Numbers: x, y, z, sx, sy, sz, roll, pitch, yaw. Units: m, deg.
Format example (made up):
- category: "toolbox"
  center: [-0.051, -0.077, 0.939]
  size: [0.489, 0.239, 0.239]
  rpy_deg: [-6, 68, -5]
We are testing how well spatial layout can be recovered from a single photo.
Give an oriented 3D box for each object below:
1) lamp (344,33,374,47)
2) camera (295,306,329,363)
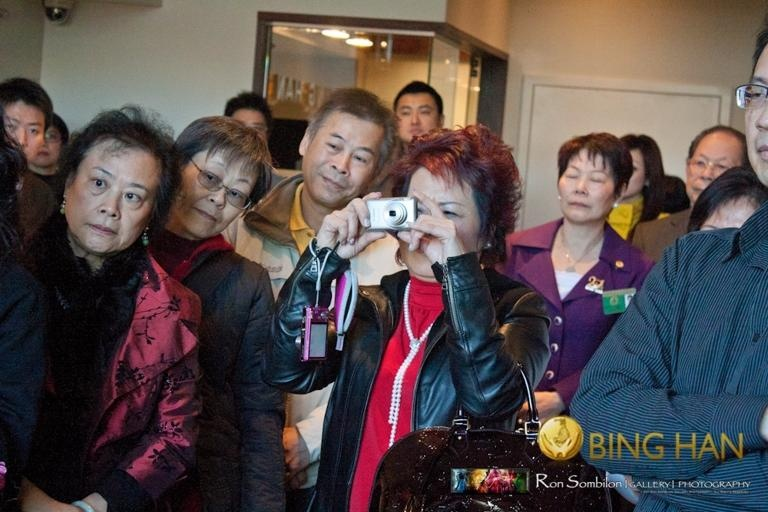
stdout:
- category: "lamp"
  center: [-0.189, -1.730, 4.870]
  size: [0.137, 0.048, 0.140]
  rpy_deg: [8, 11, 31]
- category: "camera"
  center: [-0.210, 0.234, 1.868]
  size: [0.076, 0.154, 0.085]
  rpy_deg: [0, 10, -11]
